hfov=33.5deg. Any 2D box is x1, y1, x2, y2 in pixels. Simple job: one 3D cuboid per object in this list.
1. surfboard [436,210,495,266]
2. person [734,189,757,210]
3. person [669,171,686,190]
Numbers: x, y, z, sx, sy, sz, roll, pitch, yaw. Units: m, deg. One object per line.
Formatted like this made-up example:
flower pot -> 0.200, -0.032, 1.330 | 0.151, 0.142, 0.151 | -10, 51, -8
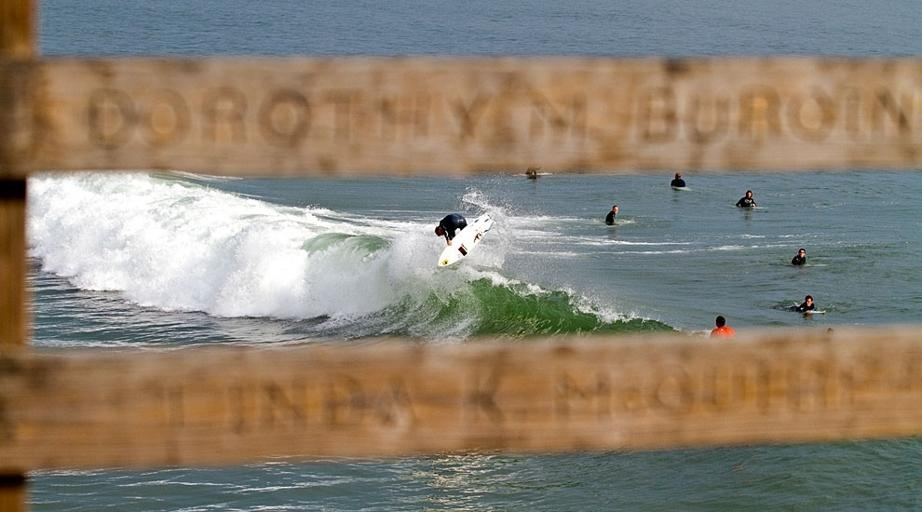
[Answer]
surfboard -> -0.200, -0.559, 64.175 | 3.661, 1.132, 0.520 | -39, -4, 24
person -> 15.668, -2.855, 84.425 | 1.048, 0.512, 1.347 | 4, -32, 3
person -> 12.782, -4.398, 90.080 | 0.952, 0.938, 2.443 | 1, 12, 7
